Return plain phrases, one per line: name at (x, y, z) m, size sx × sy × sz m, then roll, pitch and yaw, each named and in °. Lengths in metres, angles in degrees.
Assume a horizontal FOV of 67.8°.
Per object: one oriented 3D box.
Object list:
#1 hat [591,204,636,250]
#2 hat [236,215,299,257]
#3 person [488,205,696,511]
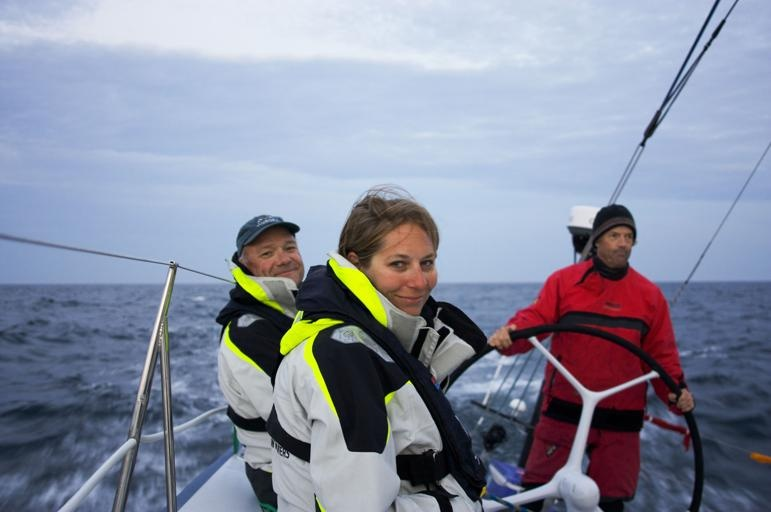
hat at (1.830, -0.212, 4.666) m, size 0.308 × 0.273 × 0.324 m, roll 8°, pitch -27°, yaw 3°
hat at (-0.914, -0.222, 4.380) m, size 0.360 × 0.250 × 0.489 m, roll -24°, pitch -7°, yaw -19°
person at (1.680, 0.813, 4.575) m, size 1.309 × 2.481 × 0.676 m, roll 5°, pitch 4°, yaw 12°
